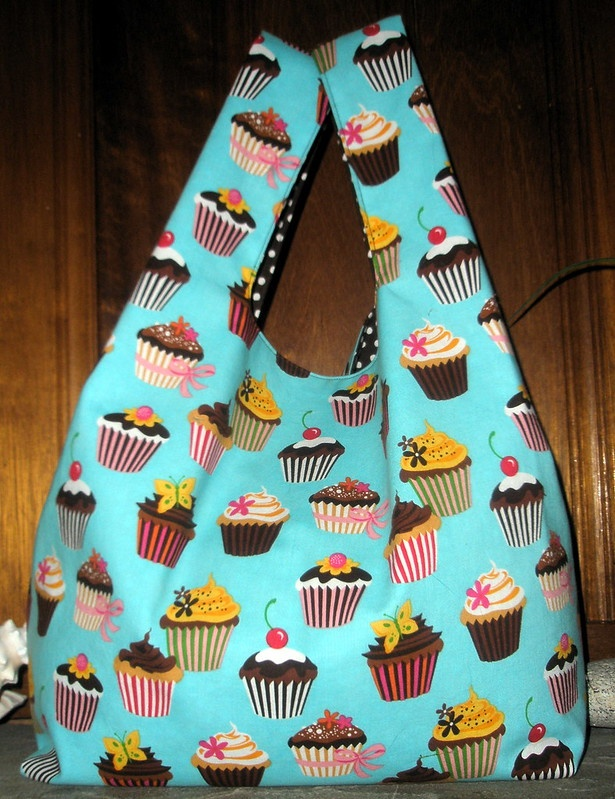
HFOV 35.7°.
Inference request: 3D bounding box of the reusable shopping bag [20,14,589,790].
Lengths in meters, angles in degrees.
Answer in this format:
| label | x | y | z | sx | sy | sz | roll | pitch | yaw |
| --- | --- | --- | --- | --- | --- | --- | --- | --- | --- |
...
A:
| label | x | y | z | sx | sy | sz | roll | pitch | yaw |
| --- | --- | --- | --- | --- | --- | --- | --- | --- | --- |
| reusable shopping bag | -0.011 | -0.028 | 0.847 | 0.468 | 0.692 | 0.229 | 0 | 1 | -10 |
